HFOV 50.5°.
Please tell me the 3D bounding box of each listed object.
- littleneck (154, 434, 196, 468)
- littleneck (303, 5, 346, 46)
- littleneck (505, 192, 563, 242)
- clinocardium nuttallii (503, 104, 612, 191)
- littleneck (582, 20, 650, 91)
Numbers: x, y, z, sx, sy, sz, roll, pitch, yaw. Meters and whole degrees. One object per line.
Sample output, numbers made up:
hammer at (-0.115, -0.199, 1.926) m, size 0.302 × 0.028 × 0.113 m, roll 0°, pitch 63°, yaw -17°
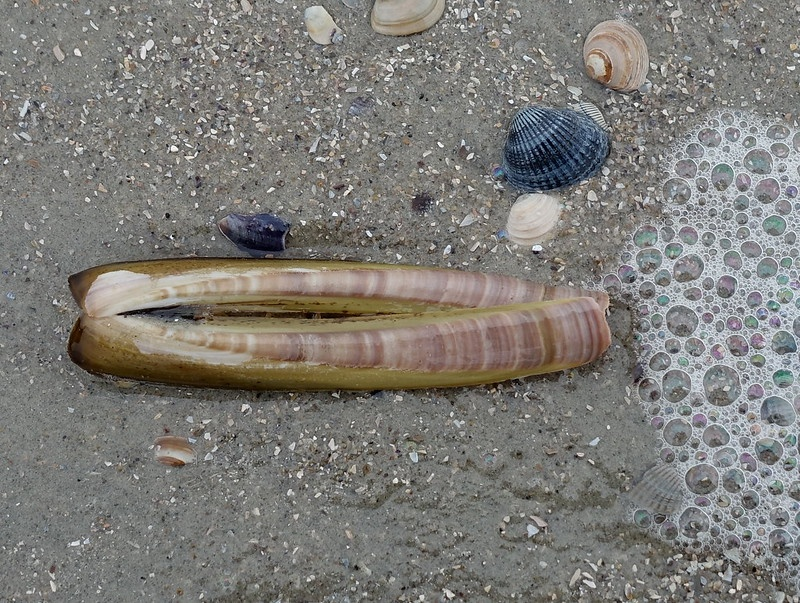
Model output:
littleneck at (-1.114, 0.725, 4.163) m, size 0.204 × 0.021 × 0.147 m, roll 1°, pitch 83°, yaw -1°
littleneck at (-0.402, -1.394, 4.292) m, size 0.155 × 0.037 × 0.210 m, roll -28°, pitch 84°, yaw -4°
littleneck at (0.648, -0.418, 4.220) m, size 0.244 × 0.071 × 0.245 m, roll 41°, pitch 96°, yaw 10°
clinocardium nuttallii at (0.792, -0.755, 4.230) m, size 0.550 × 0.130 × 0.404 m, roll 0°, pitch 83°, yaw -1°
littleneck at (1.105, -1.241, 4.270) m, size 0.362 × 0.096 × 0.315 m, roll 27°, pitch 83°, yaw 2°
